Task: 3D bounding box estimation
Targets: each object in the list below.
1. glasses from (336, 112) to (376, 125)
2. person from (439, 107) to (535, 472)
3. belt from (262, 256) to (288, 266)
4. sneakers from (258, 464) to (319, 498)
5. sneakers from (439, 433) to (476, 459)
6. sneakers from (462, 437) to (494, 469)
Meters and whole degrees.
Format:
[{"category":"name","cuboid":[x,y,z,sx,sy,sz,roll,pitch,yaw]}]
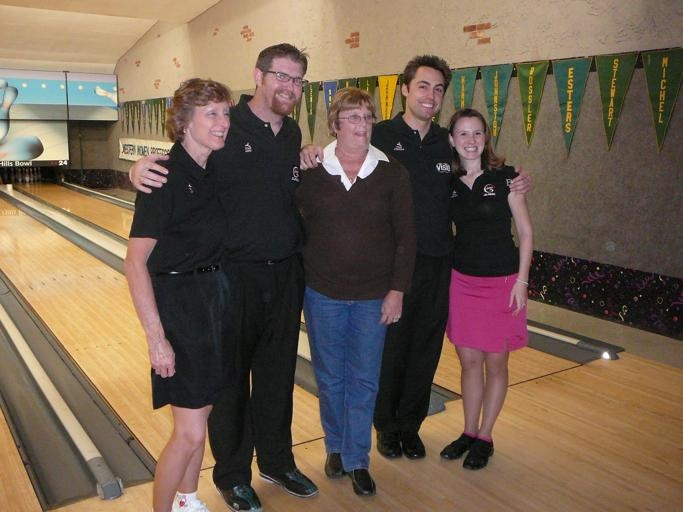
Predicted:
[{"category":"glasses","cuboid":[0.043,-0.423,1.543,0.098,0.030,0.031,-3,14,-14]},{"category":"person","cuboid":[0.510,0.111,1.771,0.305,1.220,0.323,3,13,12]},{"category":"belt","cuboid":[-0.198,0.011,1.520,0.081,0.029,0.011,-11,17,-38]},{"category":"sneakers","cuboid":[-0.180,0.718,1.685,0.189,0.082,0.072,11,3,20]},{"category":"sneakers","cuboid":[0.441,0.683,1.885,0.162,0.065,0.059,-12,19,-37]},{"category":"sneakers","cuboid":[0.481,0.691,1.786,0.054,0.066,0.153,1,1,28]}]
